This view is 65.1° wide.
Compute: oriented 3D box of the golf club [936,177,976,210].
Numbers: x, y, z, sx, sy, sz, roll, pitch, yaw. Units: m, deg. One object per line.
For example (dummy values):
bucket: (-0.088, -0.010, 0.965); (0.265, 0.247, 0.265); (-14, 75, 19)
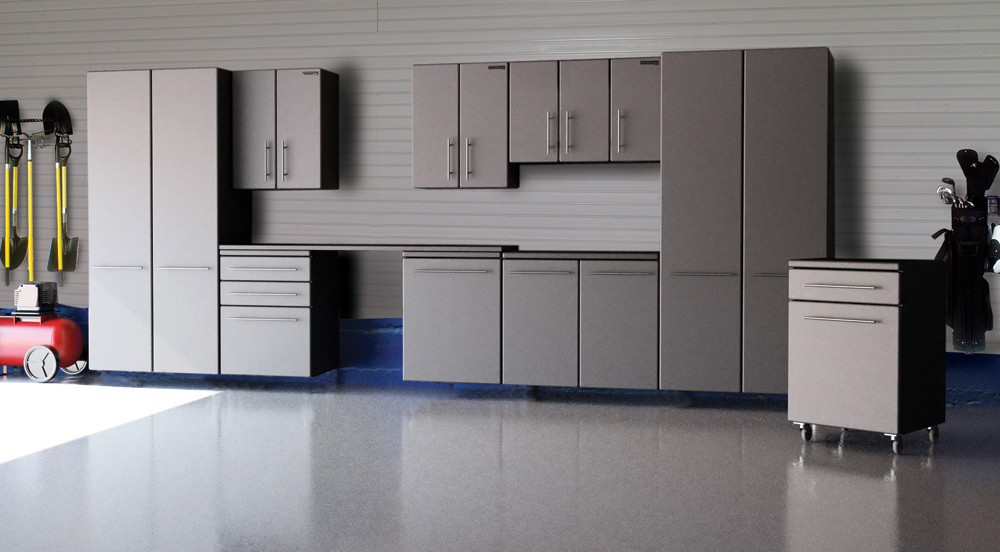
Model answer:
golf club: (4.936, -0.898, 8.497); (0.302, 0.139, 0.392); (0, -3, 38)

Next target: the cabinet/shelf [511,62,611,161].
cabinet/shelf: (0.526, -1.836, 8.737); (1.342, 1.072, 0.668); (-7, 13, -26)

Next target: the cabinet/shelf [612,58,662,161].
cabinet/shelf: (1.452, -1.793, 8.412); (0.520, 1.078, 0.227); (0, 11, 2)

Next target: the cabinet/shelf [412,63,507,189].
cabinet/shelf: (-0.434, -1.686, 8.709); (1.049, 1.315, 0.302); (0, 11, -1)

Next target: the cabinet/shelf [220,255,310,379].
cabinet/shelf: (-2.621, 0.436, 8.779); (1.015, 1.305, 0.254); (1, 11, 7)

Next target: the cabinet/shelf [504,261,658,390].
cabinet/shelf: (0.929, 0.499, 8.316); (1.592, 1.150, 0.728); (-1, -4, 10)
